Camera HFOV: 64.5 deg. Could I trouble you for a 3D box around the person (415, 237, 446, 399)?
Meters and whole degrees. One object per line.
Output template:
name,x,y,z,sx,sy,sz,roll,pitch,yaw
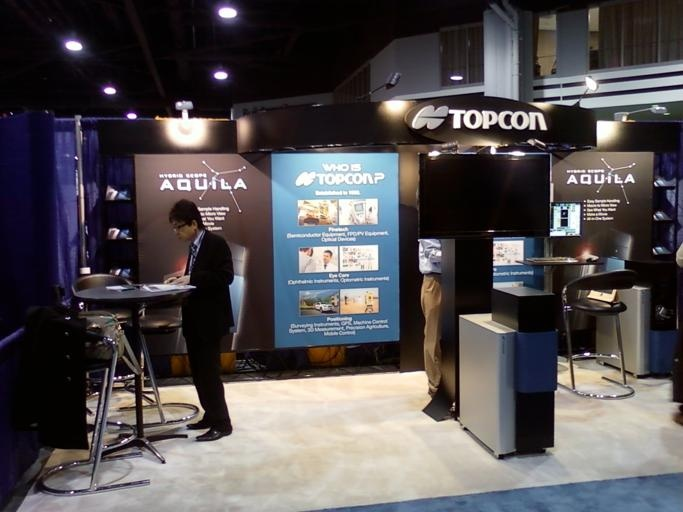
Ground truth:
person,0.856,0.589,5.246,0.189,1.545,0.274,0,9,8

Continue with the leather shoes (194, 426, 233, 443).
leather shoes,-1.057,1.491,4.490,0.246,0.089,0.096,3,-5,-33

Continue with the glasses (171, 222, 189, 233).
glasses,-1.300,-0.237,4.435,0.117,0.122,0.042,1,-9,5

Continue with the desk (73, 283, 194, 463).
desk,-1.631,0.955,4.292,0.938,1.185,0.948,2,2,40

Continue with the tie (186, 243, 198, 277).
tie,-1.224,0.009,4.466,0.051,0.210,0.207,7,-6,-32

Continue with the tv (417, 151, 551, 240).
tv,1.209,-0.510,4.547,1.147,0.730,0.082,-1,3,-5

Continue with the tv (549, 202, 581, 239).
tv,2.612,-0.430,6.338,0.450,0.449,0.046,-2,4,-6
